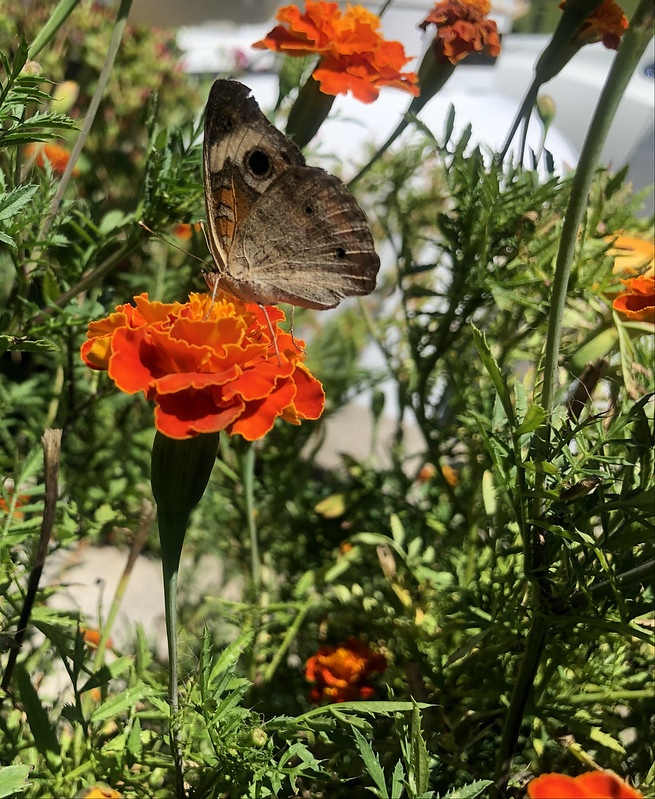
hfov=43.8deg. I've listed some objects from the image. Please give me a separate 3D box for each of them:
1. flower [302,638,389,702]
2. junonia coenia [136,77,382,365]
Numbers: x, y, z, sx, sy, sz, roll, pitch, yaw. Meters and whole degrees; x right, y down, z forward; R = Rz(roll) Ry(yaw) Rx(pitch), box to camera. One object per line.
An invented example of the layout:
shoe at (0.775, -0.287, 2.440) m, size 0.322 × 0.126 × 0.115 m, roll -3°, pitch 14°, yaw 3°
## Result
flower at (0.018, 0.247, 0.741) m, size 0.069 × 0.056 × 0.042 m, roll -1°, pitch -22°, yaw 10°
junonia coenia at (-0.017, -0.148, 0.739) m, size 0.206 × 0.229 × 0.157 m, roll 21°, pitch 9°, yaw 27°
